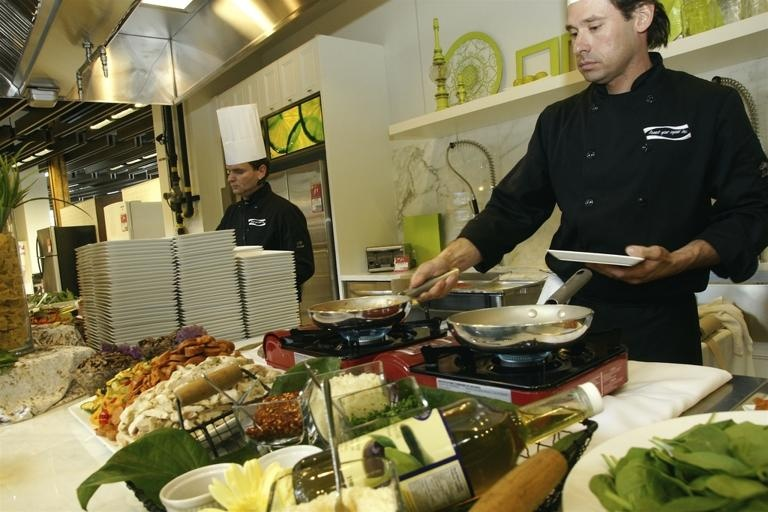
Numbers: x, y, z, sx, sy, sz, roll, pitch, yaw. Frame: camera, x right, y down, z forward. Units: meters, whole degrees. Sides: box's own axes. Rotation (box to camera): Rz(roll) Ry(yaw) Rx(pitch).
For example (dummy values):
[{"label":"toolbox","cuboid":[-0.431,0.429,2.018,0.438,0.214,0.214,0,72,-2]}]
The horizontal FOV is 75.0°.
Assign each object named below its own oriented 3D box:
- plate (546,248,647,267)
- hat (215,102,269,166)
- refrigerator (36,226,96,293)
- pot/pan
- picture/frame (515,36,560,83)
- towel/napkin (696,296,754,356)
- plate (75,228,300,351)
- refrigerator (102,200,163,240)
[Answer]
[{"label":"plate","cuboid":[0.629,0.008,1.473,0.209,0.050,0.187,-5,2,-40]},{"label":"hat","cuboid":[-0.972,-0.829,3.426,0.285,0.432,0.144,-5,1,-15]},{"label":"refrigerator","cuboid":[-4.599,0.158,7.340,0.765,1.080,0.651,-9,0,39]},{"label":"pot/pan","cuboid":[0.276,0.183,1.802,0.555,0.136,0.614,-1,8,45]},{"label":"picture/frame","cuboid":[1.138,-1.383,3.624,0.038,0.313,0.414,-29,20,-29]},{"label":"towel/napkin","cuboid":[1.680,0.291,2.499,0.199,0.065,0.240,-14,5,17]},{"label":"plate","cuboid":[-0.830,0.122,2.167,0.799,0.316,0.575,-3,4,-35]},{"label":"refrigerator","cuboid":[-2.966,-0.397,5.952,0.741,0.449,0.492,5,11,36]}]
